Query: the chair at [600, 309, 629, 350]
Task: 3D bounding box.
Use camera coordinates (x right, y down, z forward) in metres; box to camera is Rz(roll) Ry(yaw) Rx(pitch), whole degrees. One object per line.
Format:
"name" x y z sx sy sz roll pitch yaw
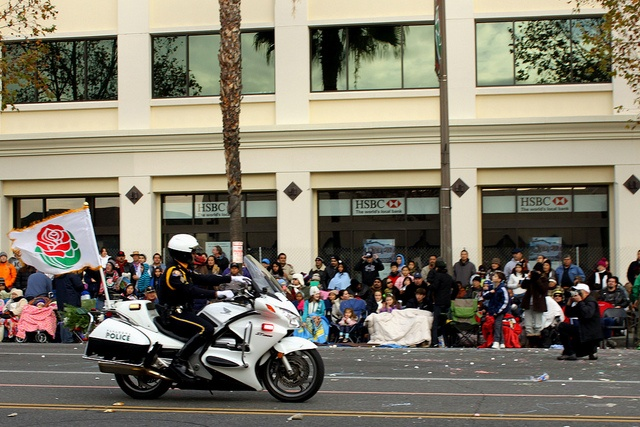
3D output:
"chair" 8.926 3.460 38.105 0.750 1.162 0.957 -2 -2 19

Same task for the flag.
"flag" -7.426 0.801 35.576 2.863 2.126 0.360 -11 7 6

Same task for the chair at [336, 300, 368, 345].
"chair" 0.796 3.340 38.857 0.897 1.219 1.043 -2 8 33

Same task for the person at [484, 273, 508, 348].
"person" 5.343 2.953 38.141 0.730 2.206 1.123 -2 -2 4

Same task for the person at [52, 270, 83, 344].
"person" -7.836 2.964 39.323 0.884 2.163 0.686 -1 -2 -9

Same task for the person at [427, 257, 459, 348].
"person" 3.732 2.688 38.825 0.971 2.178 0.937 -2 3 -3

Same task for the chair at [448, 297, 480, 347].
"chair" 4.371 3.329 38.436 1.582 1.689 1.360 -3 -14 8

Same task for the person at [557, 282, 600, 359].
"person" 7.311 3.147 35.691 1.203 1.969 0.931 -2 -2 5

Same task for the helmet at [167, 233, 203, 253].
"helmet" -3.335 0.713 30.646 0.666 0.403 0.443 3 15 -15

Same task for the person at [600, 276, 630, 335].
"person" 9.086 2.811 38.636 0.808 1.685 0.839 -1 -3 4
